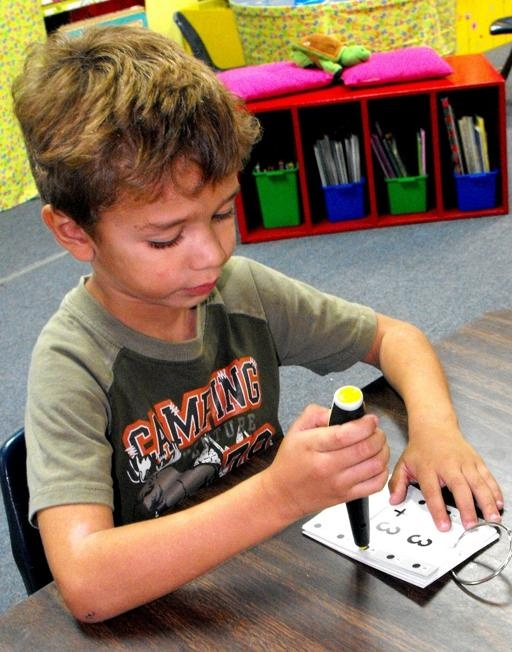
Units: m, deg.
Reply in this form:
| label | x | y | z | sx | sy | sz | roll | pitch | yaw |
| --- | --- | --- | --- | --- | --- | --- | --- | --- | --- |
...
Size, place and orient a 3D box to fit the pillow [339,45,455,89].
| label | x | y | z | sx | sy | sz | roll | pitch | yaw |
| --- | --- | --- | --- | --- | --- | --- | --- | --- | --- |
| pillow | 0.700 | -1.298 | 2.738 | 0.612 | 0.135 | 0.509 | -7 | 21 | 12 |

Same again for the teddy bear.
| label | x | y | z | sx | sy | sz | roll | pitch | yaw |
| --- | --- | --- | --- | --- | --- | --- | --- | --- | --- |
| teddy bear | 0.378 | -1.432 | 2.862 | 0.339 | 0.137 | 0.238 | 11 | 46 | 11 |

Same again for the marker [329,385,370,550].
| label | x | y | z | sx | sy | sz | roll | pitch | yaw |
| --- | --- | --- | --- | --- | --- | --- | --- | --- | --- |
| marker | 0.095 | 0.143 | 0.520 | 0.040 | 0.169 | 0.040 | -9 | 18 | -3 |
